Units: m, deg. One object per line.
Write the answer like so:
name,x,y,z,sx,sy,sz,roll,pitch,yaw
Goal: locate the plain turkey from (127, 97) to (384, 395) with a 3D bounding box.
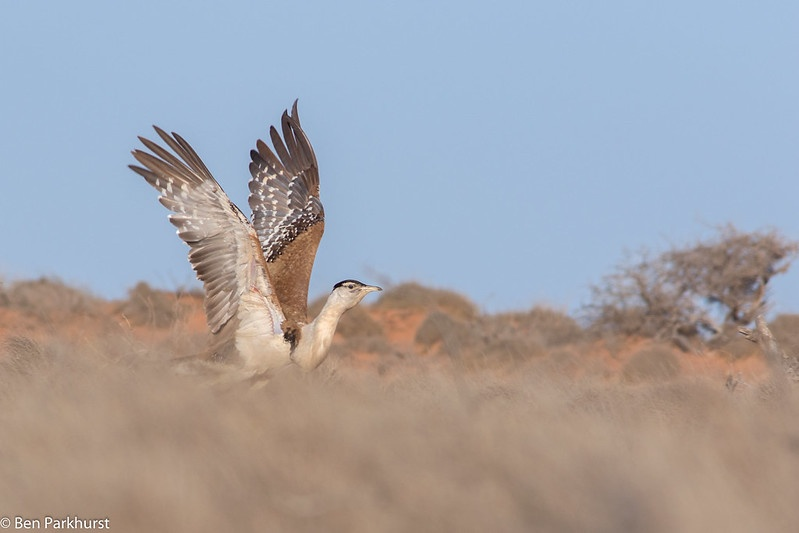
plain turkey,-2.833,-0.492,30.042,3.253,5.418,2.249,5,-7,-10
